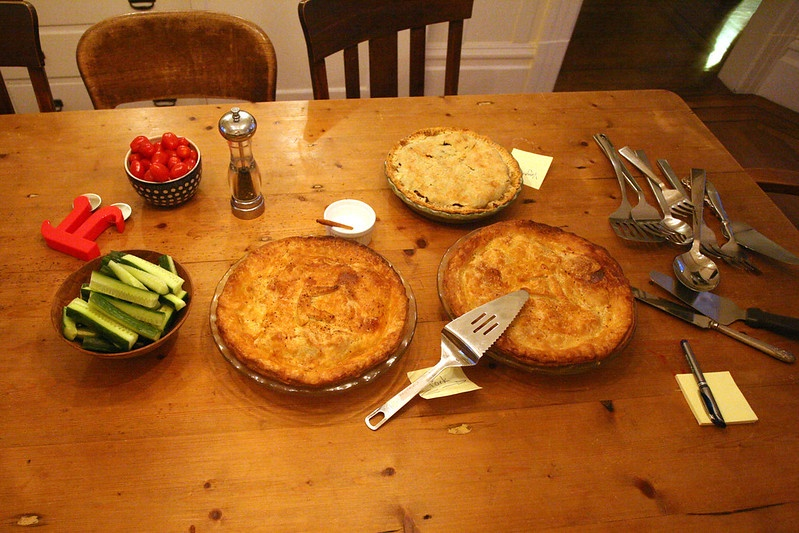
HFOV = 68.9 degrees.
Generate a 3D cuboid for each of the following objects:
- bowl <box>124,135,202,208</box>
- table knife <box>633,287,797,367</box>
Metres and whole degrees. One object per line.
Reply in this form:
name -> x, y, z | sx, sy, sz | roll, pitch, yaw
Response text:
bowl -> -0.975, -0.345, 2.420 | 0.319, 0.206, 0.285 | 0, 73, -7
table knife -> 1.235, 0.252, 2.295 | 0.568, 0.037, 0.081 | 26, 54, 19
